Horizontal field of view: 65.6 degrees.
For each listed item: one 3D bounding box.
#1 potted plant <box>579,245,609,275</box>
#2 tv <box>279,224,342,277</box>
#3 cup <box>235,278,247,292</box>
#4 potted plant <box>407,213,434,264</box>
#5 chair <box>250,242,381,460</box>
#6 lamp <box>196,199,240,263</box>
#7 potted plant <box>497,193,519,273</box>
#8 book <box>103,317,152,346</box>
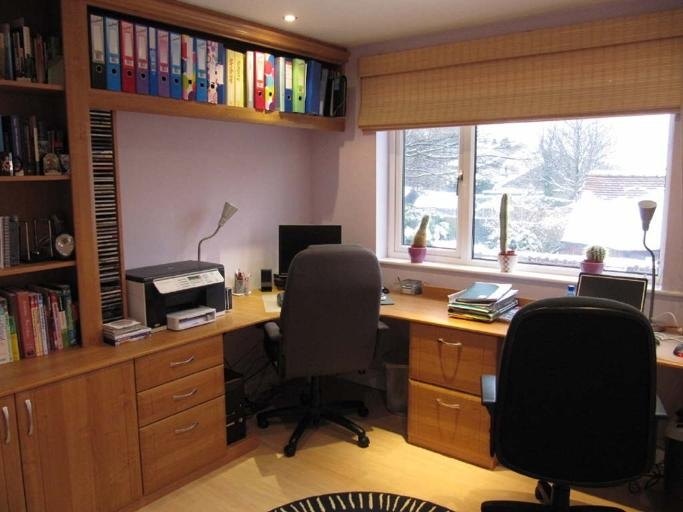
[{"bbox_3d":[1.613,0.027,3.422,0.180,0.237,0.181,0,7,-11],"label":"potted plant"},{"bbox_3d":[-0.224,-0.025,3.516,0.404,0.276,0.028,0,-1,-15],"label":"tv"},{"bbox_3d":[-0.741,0.236,4.003,0.090,0.099,0.090,0,1,0],"label":"cup"},{"bbox_3d":[0.625,-0.128,4.133,0.120,0.372,0.221,10,17,31],"label":"potted plant"},{"bbox_3d":[-0.174,0.547,3.457,0.699,1.375,0.696,-6,16,-23],"label":"chair"},{"bbox_3d":[-0.864,-0.163,3.718,0.282,0.429,0.576,-2,15,-11],"label":"lamp"},{"bbox_3d":[1.193,-0.162,3.772,0.143,0.537,0.249,5,15,17],"label":"potted plant"},{"bbox_3d":[-1.250,0.423,3.023,0.153,0.061,0.160,7,12,35],"label":"book"}]
